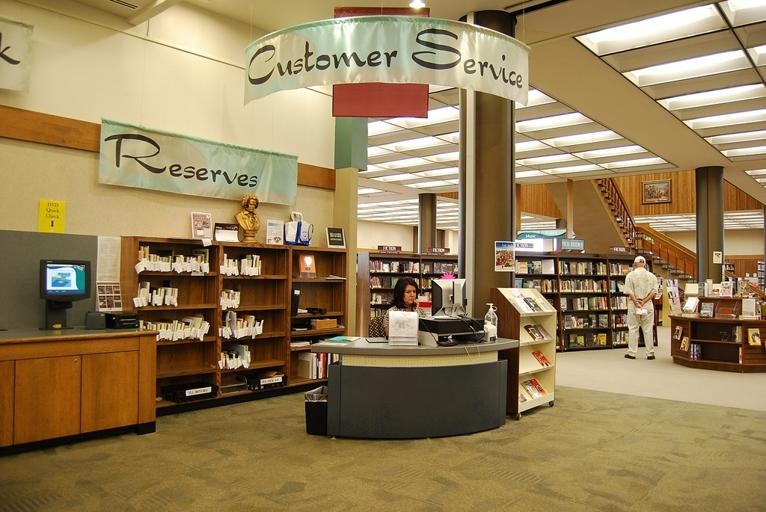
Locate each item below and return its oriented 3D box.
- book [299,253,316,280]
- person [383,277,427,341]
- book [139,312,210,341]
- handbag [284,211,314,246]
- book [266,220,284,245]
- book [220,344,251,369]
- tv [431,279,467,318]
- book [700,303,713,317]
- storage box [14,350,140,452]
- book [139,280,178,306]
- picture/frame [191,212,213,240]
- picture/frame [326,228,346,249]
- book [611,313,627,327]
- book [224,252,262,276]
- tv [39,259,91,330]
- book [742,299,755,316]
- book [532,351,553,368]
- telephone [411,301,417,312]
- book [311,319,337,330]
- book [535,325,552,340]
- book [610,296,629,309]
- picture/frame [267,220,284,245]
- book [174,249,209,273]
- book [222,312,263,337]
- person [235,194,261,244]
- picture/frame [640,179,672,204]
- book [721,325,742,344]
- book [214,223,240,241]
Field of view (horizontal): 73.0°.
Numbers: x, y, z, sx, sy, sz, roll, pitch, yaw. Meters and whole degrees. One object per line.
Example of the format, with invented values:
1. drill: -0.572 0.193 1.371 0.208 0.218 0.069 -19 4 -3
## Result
1. book: -1.324 0.196 8.862 0.376 0.474 0.142 9 -23 -41
2. person: 0.257 0.702 7.047 0.833 0.768 0.454 -6 10 -41
3. book: -3.036 1.080 7.596 0.946 0.356 0.445 -5 10 -37
4. handbag: -1.358 -0.431 8.916 0.502 0.649 0.364 1 -14 14
5. book: -1.805 -0.372 8.582 0.414 0.563 0.063 2 -3 -33
6. book: -2.338 1.554 8.054 0.362 0.158 0.366 -1 -2 35
7. tv: 0.854 0.566 6.826 0.507 0.482 0.185 0 3 -9
8. book: 6.676 1.128 10.677 0.203 0.208 0.286 3 15 19
9. storage box: -3.665 1.622 6.506 1.605 1.126 0.555 -5 -9 0
10. book: -3.234 0.536 7.353 0.328 0.201 0.440 0 -2 -35
11. picture/frame: -2.801 -0.449 7.921 0.056 0.330 0.440 -4 -3 24
12. picture/frame: -0.860 -0.308 9.298 0.381 0.432 0.042 1 -14 -39
13. book: 6.111 1.688 13.462 0.372 0.349 0.119 3 -4 -36
14. book: -2.208 0.152 8.070 0.481 0.341 0.596 1 8 0
15. tv: -4.190 0.515 6.798 0.638 0.889 0.638 -1 -6 -14
16. book: 7.271 1.036 10.295 0.233 0.333 0.138 6 9 35
17. book: 2.385 1.571 7.810 0.216 0.282 0.028 -25 -14 -50
18. telephone: 0.404 0.712 7.157 0.101 0.114 0.131 -4 2 3
19. book: -1.011 1.183 8.871 0.203 0.100 0.284 0 -1 30
20. book: 2.432 1.165 7.889 0.212 0.050 0.212 4 15 -28
21. book: 6.193 1.242 13.642 0.398 0.384 0.222 4 0 4
22. picture/frame: -1.788 -0.383 8.544 0.273 0.387 0.342 -1 8 -12
23. book: -2.804 0.083 7.637 0.337 0.208 0.429 2 -2 -33
24. book: -2.226 1.072 8.020 0.380 0.238 0.488 1 0 -45
25. person: -2.190 -0.612 8.420 0.401 0.756 0.509 -3 9 -26
26. picture/frame: 12.056 -2.793 22.816 1.161 1.170 0.089 1 -4 39
27. book: 6.950 1.578 10.321 0.127 0.337 0.383 5 -2 -3
28. book: -2.479 -0.337 8.181 0.453 0.303 0.260 4 -8 -45
